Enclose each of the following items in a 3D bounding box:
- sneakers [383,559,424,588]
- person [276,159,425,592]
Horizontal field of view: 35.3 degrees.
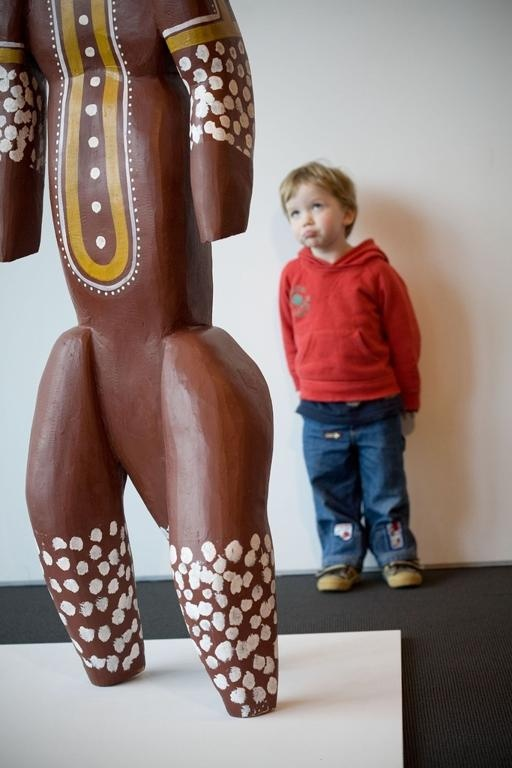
[{"bbox_3d":[0.328,0.422,1.798,0.085,0.051,0.123,0,-1,11],"label":"sneakers"},{"bbox_3d":[0.210,-0.008,1.808,0.313,0.937,0.184,1,-1,1],"label":"person"}]
